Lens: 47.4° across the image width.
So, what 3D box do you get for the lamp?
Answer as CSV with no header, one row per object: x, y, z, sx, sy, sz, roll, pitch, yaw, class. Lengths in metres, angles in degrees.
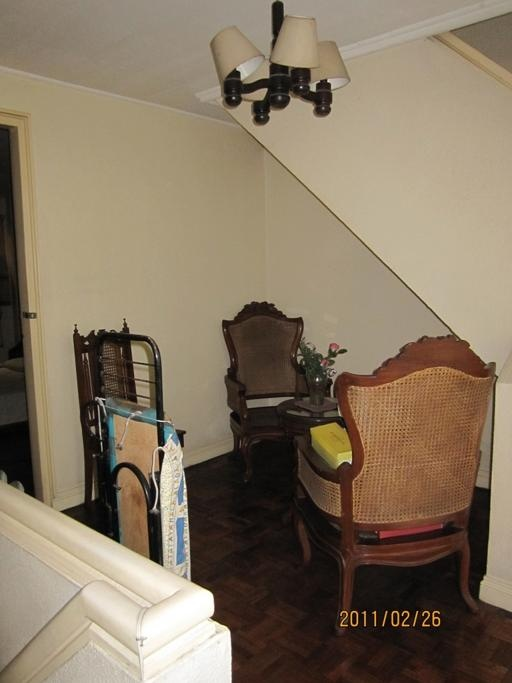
0.095,-1.076,2.130,0.470,0.485,0.523,-1,6,9,lamp

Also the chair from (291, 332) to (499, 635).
0.542,0.508,2.295,0.627,1.111,0.595,-3,7,-10,chair

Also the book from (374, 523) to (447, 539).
0.585,0.718,2.203,0.116,0.025,0.106,-2,1,-18,book
